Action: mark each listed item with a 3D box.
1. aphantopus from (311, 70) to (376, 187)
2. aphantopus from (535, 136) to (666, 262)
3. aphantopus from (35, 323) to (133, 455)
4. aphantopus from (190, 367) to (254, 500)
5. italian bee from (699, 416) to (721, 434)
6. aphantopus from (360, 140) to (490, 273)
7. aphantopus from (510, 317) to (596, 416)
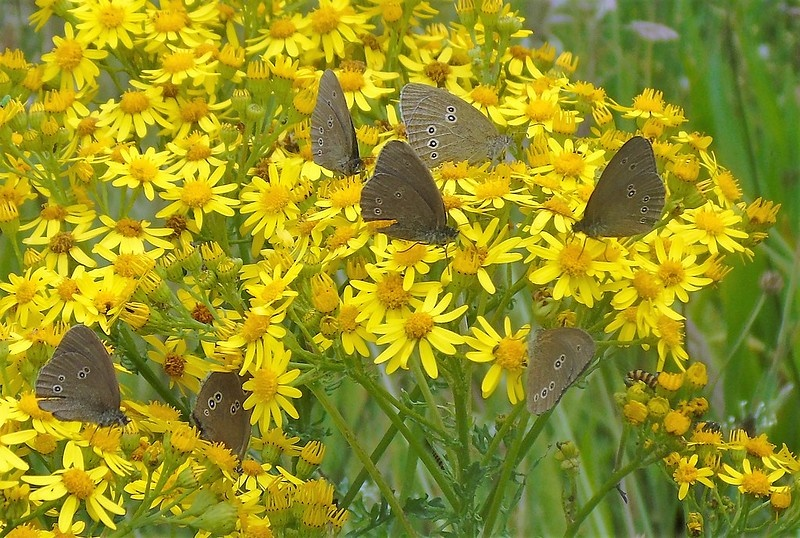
[{"bbox_3d":[-0.169,-0.344,2.546,0.127,0.188,0.207,-18,59,-21],"label":"aphantopus"},{"bbox_3d":[0.488,-0.179,2.493,0.216,0.138,0.230,-41,108,0],"label":"aphantopus"},{"bbox_3d":[-0.726,0.257,2.333,0.195,0.210,0.174,-4,54,-13],"label":"aphantopus"},{"bbox_3d":[-0.411,0.347,2.438,0.144,0.161,0.161,23,53,8],"label":"aphantopus"},{"bbox_3d":[0.793,0.392,2.604,0.034,0.036,0.019,11,67,9],"label":"italian bee"},{"bbox_3d":[0.051,-0.152,2.468,0.207,0.229,0.152,27,90,7],"label":"aphantopus"},{"bbox_3d":[0.345,0.237,2.305,0.141,0.197,0.177,13,52,1],"label":"aphantopus"}]
